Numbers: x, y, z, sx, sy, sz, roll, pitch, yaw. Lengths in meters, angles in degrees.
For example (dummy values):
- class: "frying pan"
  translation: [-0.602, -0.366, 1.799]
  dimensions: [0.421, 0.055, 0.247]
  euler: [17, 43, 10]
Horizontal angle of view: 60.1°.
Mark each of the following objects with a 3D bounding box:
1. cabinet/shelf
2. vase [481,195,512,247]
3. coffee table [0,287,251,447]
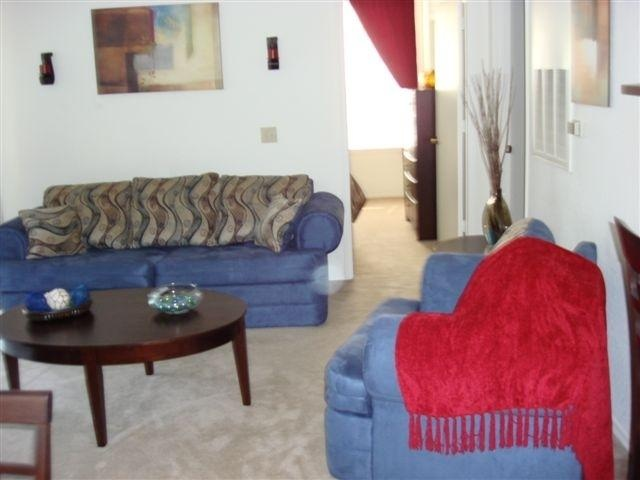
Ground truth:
- class: "cabinet/shelf"
  translation: [1.125, -0.849, 6.189]
  dimensions: [0.228, 1.610, 0.796]
  euler: [-2, 13, -4]
- class: "vase"
  translation: [1.091, -0.130, 3.434]
  dimensions: [0.197, 0.336, 0.194]
  euler: [-13, 21, -30]
- class: "coffee table"
  translation: [-1.057, 0.468, 2.956]
  dimensions: [0.881, 0.389, 0.881]
  euler: [-3, 6, -22]
